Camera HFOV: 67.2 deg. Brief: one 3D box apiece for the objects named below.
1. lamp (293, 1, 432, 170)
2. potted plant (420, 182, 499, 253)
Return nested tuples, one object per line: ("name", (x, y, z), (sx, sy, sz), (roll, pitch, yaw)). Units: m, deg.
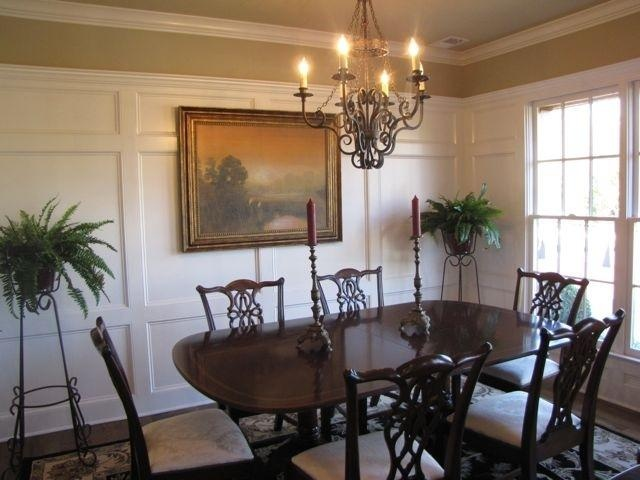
("lamp", (0.310, -1.164, 3.732), (0.931, 1.381, 2.162), (1, 12, 8))
("potted plant", (1.317, -0.178, 4.670), (0.663, 0.524, 0.673), (3, -5, -31))
